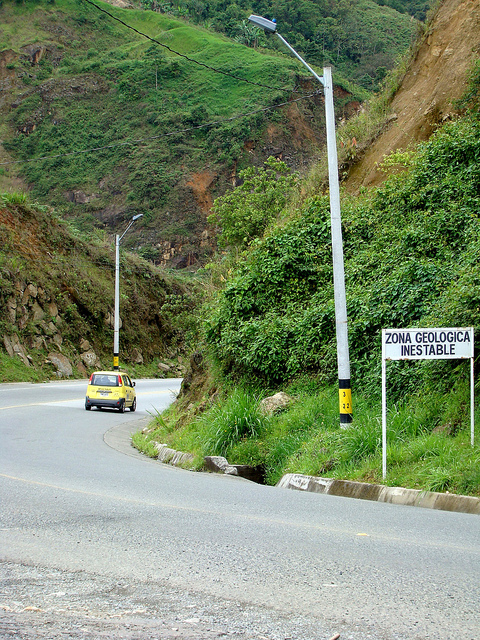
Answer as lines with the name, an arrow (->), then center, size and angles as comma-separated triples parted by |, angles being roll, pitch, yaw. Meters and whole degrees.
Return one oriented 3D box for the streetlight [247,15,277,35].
streetlight -> 0.457, -5.214, 20.795 | 0.525, 0.223, 0.365 | 18, 10, -15
